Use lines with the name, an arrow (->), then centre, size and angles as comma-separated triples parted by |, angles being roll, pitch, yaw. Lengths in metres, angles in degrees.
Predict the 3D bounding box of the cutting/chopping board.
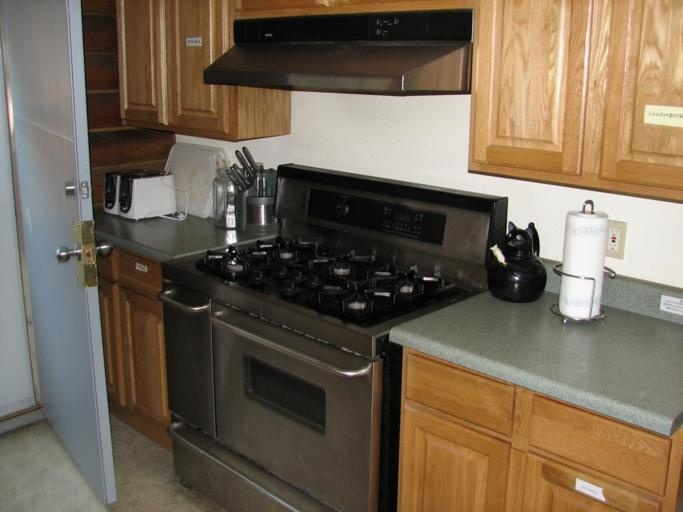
cutting/chopping board -> -0.805, -0.437, 3.267 | 0.319, 0.490, 0.222 | 16, 26, 34

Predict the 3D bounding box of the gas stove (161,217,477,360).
gas stove -> -0.096, 0.110, 2.292 | 1.049, 0.140, 0.578 | 13, 25, 40

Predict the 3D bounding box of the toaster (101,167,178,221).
toaster -> -1.134, -0.336, 3.137 | 0.306, 0.239, 0.307 | 15, 20, 38

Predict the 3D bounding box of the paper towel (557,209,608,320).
paper towel -> 0.812, 0.038, 1.869 | 0.144, 0.360, 0.082 | 3, 14, 14

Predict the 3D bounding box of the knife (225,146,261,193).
knife -> -0.456, -0.424, 2.846 | 0.230, 0.225, 0.061 | -2, 30, 35

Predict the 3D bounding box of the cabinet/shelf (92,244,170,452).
cabinet/shelf -> -0.916, 0.406, 2.914 | 0.394, 1.041, 0.461 | -17, 24, -39
